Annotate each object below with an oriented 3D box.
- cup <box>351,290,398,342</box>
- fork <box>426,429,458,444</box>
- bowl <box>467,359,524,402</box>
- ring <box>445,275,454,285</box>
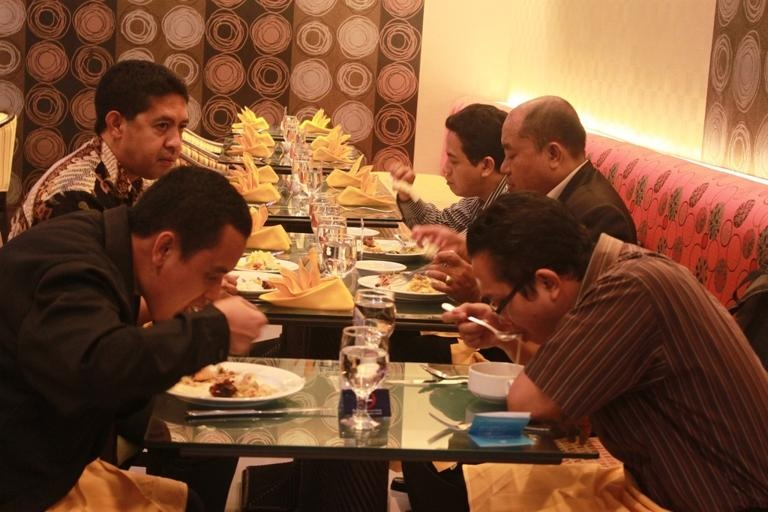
[{"bbox_3d":[-0.013,0.170,1.768,0.140,0.216,0.134,-1,3,0],"label":"cup"},{"bbox_3d":[0.139,0.432,1.432,0.025,0.014,0.085,21,18,33],"label":"fork"},{"bbox_3d":[0.319,0.355,1.627,0.148,0.085,0.191,1,6,-13],"label":"bowl"},{"bbox_3d":[0.257,0.095,2.328,0.029,0.014,0.038,-5,25,-2],"label":"ring"}]
